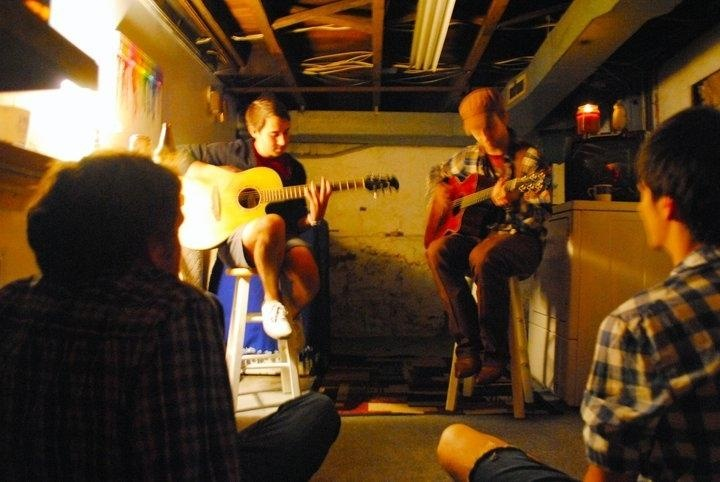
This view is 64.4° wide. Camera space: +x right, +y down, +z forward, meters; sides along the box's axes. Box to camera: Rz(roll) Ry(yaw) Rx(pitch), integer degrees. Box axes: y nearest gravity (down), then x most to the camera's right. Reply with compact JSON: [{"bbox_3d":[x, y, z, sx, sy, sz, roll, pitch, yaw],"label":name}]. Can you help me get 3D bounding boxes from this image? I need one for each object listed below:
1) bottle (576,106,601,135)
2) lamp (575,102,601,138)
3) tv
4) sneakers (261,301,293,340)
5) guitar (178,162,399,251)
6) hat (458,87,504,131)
[{"bbox_3d":[1.502,-0.779,3.778,0.148,0.196,0.144,0,2,0],"label":"bottle"},{"bbox_3d":[1.504,-0.782,3.781,0.149,0.198,0.144,-2,5,16],"label":"lamp"},{"bbox_3d":[1.557,-0.457,3.566,0.464,0.420,0.270,6,10,44],"label":"tv"},{"bbox_3d":[-0.426,0.374,2.869,0.110,0.117,0.280,11,18,-34],"label":"sneakers"},{"bbox_3d":[-0.409,-0.247,3.086,1.029,0.400,0.153,-5,-15,-17],"label":"guitar"},{"bbox_3d":[0.697,-0.735,3.255,0.204,0.237,0.266,-4,32,27],"label":"hat"}]
